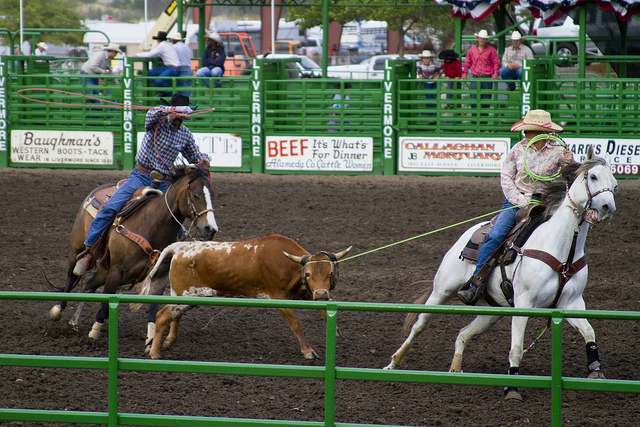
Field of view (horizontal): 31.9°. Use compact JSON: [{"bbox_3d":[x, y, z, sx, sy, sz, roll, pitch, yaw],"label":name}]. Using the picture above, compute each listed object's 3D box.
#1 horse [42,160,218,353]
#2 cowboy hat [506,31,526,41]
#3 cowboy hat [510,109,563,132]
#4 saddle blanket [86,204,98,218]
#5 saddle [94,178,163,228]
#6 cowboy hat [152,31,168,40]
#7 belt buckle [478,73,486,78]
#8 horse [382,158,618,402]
[{"bbox_3d":[-3.125,0.647,18.174,1.100,3.092,4.158,8,-2,-40],"label":"horse"},{"bbox_3d":[4.546,-4.161,25.991,0.347,0.142,0.377,0,-4,8],"label":"cowboy hat"},{"bbox_3d":[3.184,-1.330,16.438,0.523,0.186,0.412,2,4,-9],"label":"cowboy hat"},{"bbox_3d":[-3.650,-0.044,17.850,0.168,0.047,0.168,47,-3,31],"label":"saddle blanket"},{"bbox_3d":[-3.072,-0.182,17.829,1.079,0.437,0.658,-4,7,12],"label":"saddle"},{"bbox_3d":[-3.817,-4.232,26.645,0.296,0.205,0.575,-2,7,-8],"label":"cowboy hat"},{"bbox_3d":[3.726,-3.191,25.872,0.108,0.092,0.028,1,7,14],"label":"belt buckle"},{"bbox_3d":[2.880,1.108,17.260,1.202,3.414,5.689,7,-8,-24],"label":"horse"}]
